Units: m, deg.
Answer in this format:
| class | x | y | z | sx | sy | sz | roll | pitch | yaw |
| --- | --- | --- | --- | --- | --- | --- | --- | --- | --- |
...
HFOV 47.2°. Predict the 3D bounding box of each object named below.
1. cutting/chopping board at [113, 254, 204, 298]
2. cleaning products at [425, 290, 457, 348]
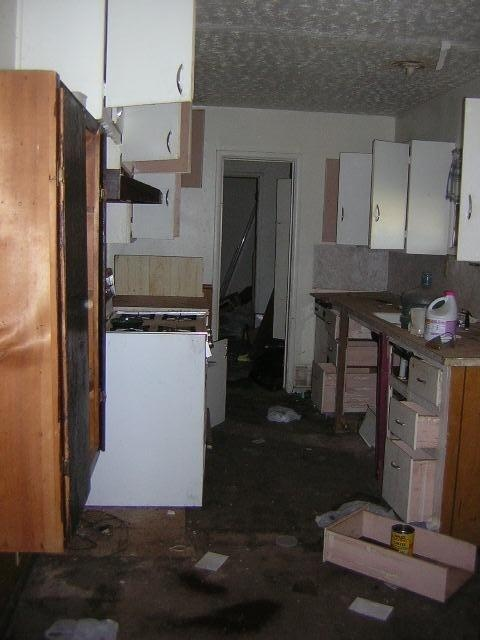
| class | x | y | z | sx | sy | sz | roll | pitch | yaw |
| --- | --- | --- | --- | --- | --- | --- | --- | --- | --- |
| cutting/chopping board | -0.632 | -0.341 | 4.305 | 0.684 | 0.320 | 0.108 | 0 | 6 | -13 |
| cleaning products | 0.912 | -0.001 | 2.496 | 0.128 | 0.261 | 0.134 | 3 | -15 | 31 |
